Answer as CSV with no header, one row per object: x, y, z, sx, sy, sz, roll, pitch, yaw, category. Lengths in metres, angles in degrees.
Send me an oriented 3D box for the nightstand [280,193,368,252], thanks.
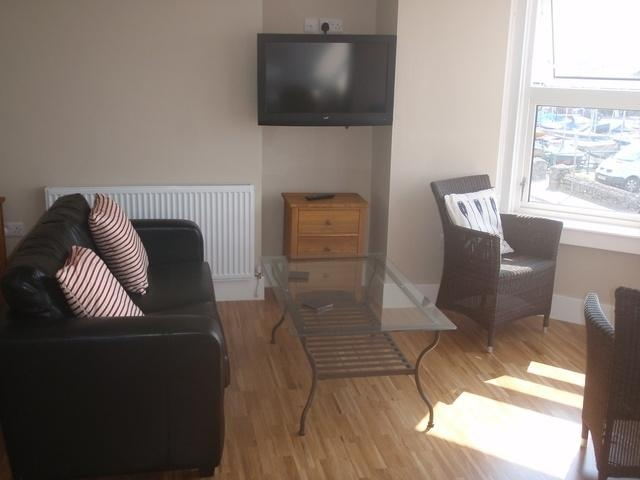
0.040,-0.109,4.355,0.597,0.606,0.412,0,27,-4,nightstand

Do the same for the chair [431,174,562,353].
1.340,0.139,3.901,0.810,1.105,0.906,-3,13,0,chair

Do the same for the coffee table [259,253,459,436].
0.151,0.594,3.323,0.919,0.660,1.412,0,13,-13,coffee table

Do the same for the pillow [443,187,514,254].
1.178,-0.193,3.841,0.478,0.510,0.139,-4,-10,-31,pillow

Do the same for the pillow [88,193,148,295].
-1.260,0.123,3.258,0.278,0.461,0.524,-8,19,-22,pillow
